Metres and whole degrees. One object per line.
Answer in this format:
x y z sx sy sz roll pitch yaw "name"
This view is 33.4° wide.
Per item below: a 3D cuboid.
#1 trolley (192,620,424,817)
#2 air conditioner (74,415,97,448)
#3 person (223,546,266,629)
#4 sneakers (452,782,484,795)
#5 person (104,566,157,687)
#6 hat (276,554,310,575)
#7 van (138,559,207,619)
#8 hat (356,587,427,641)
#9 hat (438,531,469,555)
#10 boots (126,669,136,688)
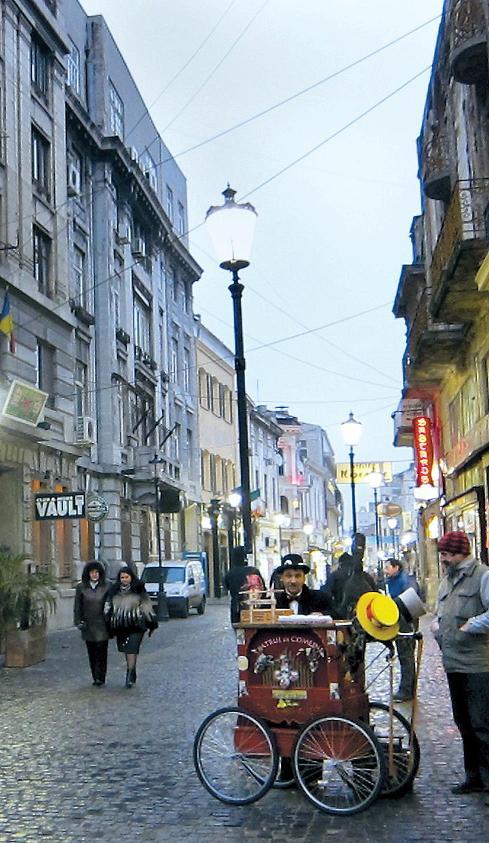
0.382 1.707 4.848 1.305 1.055 0.990 -7 -11 23 "trolley"
-5.077 0.310 25.664 0.511 1.023 0.983 -3 -9 7 "air conditioner"
-0.154 3.174 15.397 0.517 1.435 0.406 -3 11 -7 "person"
1.301 2.145 4.775 0.191 0.061 0.115 -3 -10 3 "sneakers"
-1.647 2.869 11.620 0.723 1.573 1.668 -1 -10 -10 "person"
0.319 0.962 5.552 0.158 0.078 0.197 1 -16 -2 "hat"
-2.829 5.784 28.359 2.211 2.288 4.372 -3 -13 6 "van"
0.790 1.107 4.609 0.326 0.288 0.549 -8 -11 26 "hat"
1.313 0.745 5.120 0.158 0.134 0.167 3 -6 -6 "hat"
-1.532 3.409 10.814 0.120 0.216 0.247 0 -10 -13 "boots"
